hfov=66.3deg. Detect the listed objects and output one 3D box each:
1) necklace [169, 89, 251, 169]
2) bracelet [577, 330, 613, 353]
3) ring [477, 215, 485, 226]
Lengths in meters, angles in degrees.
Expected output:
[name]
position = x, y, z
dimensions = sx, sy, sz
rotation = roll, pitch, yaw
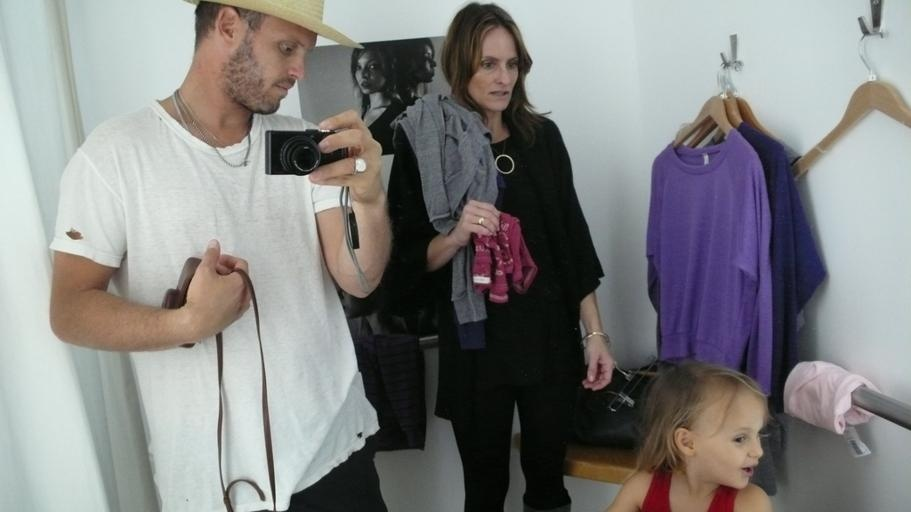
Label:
[necklace]
position = -0.817, -0.411, 2.344
dimensions = 0.223, 0.286, 0.070
rotation = 5, 34, 16
[bracelet]
position = 0.576, 0.355, 2.995
dimensions = 0.098, 0.037, 0.106
rotation = 19, -30, -25
[ring]
position = 0.096, -0.134, 2.661
dimensions = 0.040, 0.037, 0.010
rotation = -4, 1, 21
